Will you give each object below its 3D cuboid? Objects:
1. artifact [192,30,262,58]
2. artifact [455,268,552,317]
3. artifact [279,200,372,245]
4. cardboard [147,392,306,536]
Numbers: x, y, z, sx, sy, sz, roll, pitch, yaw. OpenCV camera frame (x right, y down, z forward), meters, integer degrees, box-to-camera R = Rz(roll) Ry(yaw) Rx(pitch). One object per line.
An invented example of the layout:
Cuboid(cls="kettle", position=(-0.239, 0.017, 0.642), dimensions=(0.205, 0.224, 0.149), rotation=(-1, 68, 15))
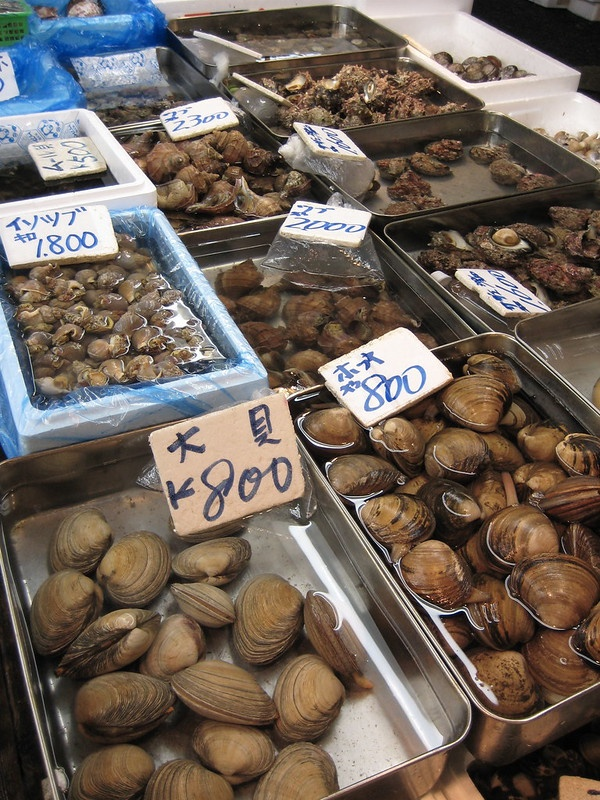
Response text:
Cuboid(cls="artifact", position=(-0.342, -1.733, 3.003), dimensions=(0.227, 0.053, 0.222), rotation=(8, 36, -19))
Cuboid(cls="artifact", position=(0.592, -0.317, 1.782), dimensions=(0.188, 0.046, 0.275), rotation=(-8, 36, -17))
Cuboid(cls="artifact", position=(0.073, -0.509, 1.771), dimensions=(0.247, 0.072, 0.214), rotation=(12, 35, 12))
Cuboid(cls="cardboard", position=(-0.134, 0.104, 1.063), dimensions=(0.281, 0.200, 0.064), rotation=(-19, 10, -35))
